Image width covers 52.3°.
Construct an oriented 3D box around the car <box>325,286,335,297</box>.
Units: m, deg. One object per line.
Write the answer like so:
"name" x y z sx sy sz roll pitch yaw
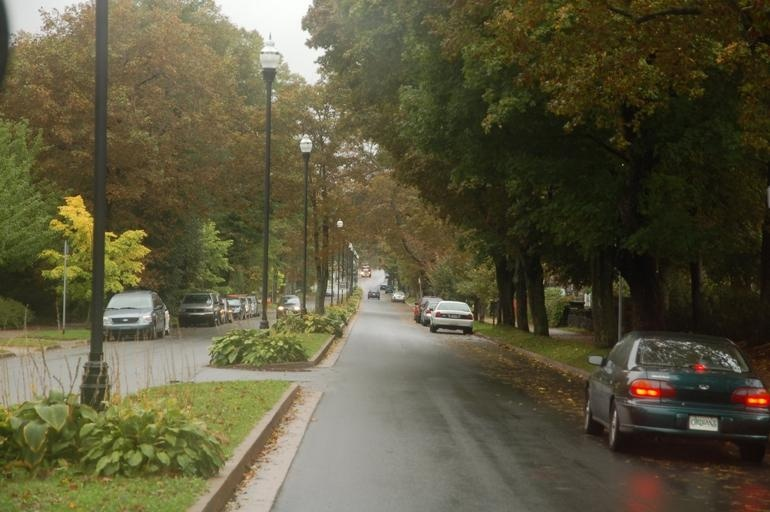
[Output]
"car" -7.536 4.796 107.086 1.363 1.247 2.602 0 -7 -2
